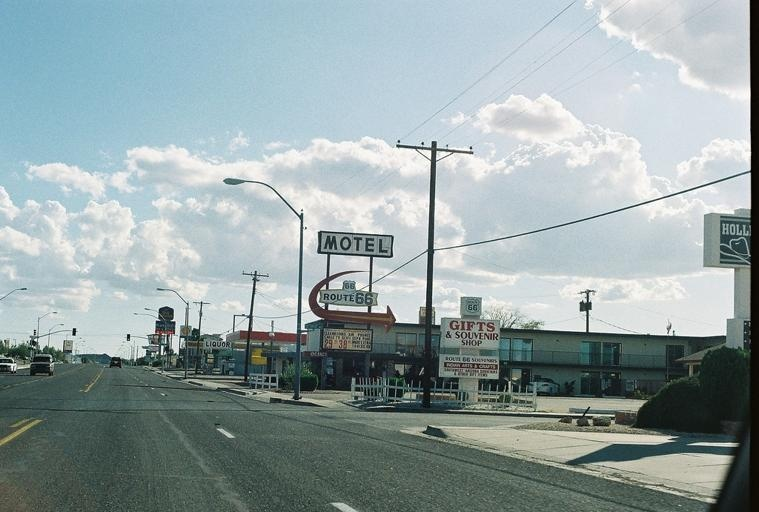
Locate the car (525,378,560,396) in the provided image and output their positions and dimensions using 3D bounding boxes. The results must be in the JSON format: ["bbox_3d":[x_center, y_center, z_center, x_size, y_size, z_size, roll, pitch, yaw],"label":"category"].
[{"bbox_3d":[12.915,10.129,69.162,1.798,1.499,3.155,-1,-12,19],"label":"car"}]

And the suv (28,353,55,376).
[{"bbox_3d":[-28.299,9.163,74.849,1.728,1.555,3.418,1,-10,-10],"label":"suv"}]
